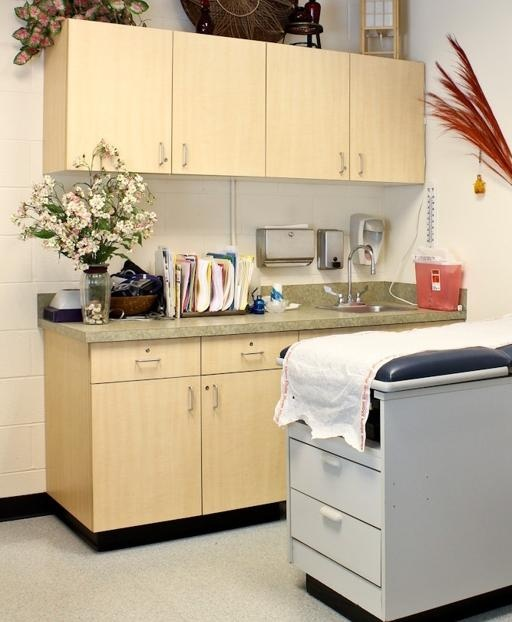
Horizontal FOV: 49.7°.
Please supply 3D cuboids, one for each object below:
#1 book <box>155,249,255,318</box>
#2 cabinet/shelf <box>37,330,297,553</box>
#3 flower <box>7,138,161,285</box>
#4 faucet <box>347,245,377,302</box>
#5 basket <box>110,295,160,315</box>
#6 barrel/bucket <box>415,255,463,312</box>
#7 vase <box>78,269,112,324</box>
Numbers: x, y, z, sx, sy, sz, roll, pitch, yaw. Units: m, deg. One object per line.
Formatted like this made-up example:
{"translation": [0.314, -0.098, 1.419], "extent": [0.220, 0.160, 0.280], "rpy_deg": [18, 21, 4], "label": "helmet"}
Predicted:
{"translation": [-0.253, -0.124, 2.673], "extent": [0.390, 0.282, 0.334], "rpy_deg": [-1, 2, -27], "label": "book"}
{"translation": [-0.408, 0.546, 2.576], "extent": [1.028, 0.827, 0.619], "rpy_deg": [3, -9, -39], "label": "cabinet/shelf"}
{"translation": [-0.705, -0.445, 2.482], "extent": [0.622, 0.612, 0.569], "rpy_deg": [-3, 12, -14], "label": "flower"}
{"translation": [0.600, -0.223, 3.204], "extent": [0.172, 0.371, 0.470], "rpy_deg": [-2, -3, 10], "label": "faucet"}
{"translation": [-0.561, -0.023, 2.509], "extent": [0.197, 0.097, 0.078], "rpy_deg": [0, -3, -24], "label": "basket"}
{"translation": [0.980, -0.150, 2.958], "extent": [0.177, 0.288, 0.304], "rpy_deg": [-1, 2, -26], "label": "barrel/bucket"}
{"translation": [-0.664, -0.063, 2.327], "extent": [0.139, 0.246, 0.121], "rpy_deg": [1, -3, -31], "label": "vase"}
